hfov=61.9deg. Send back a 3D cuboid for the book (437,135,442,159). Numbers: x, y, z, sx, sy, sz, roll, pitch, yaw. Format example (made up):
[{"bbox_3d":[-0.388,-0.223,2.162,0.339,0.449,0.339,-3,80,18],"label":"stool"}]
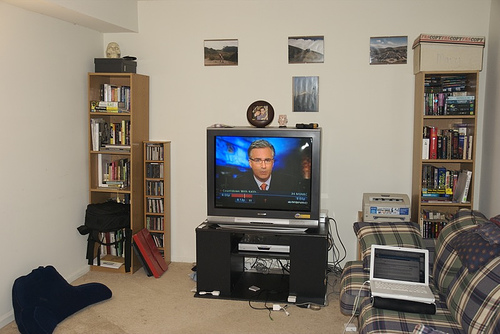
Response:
[{"bbox_3d":[2.168,-0.230,4.776,0.058,0.263,0.023,-2,7,-6],"label":"book"}]

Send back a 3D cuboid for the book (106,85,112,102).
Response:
[{"bbox_3d":[-1.761,-0.923,5.227,0.073,0.188,0.014,-1,7,0],"label":"book"}]

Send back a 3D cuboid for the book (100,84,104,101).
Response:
[{"bbox_3d":[-1.852,-0.930,5.248,0.048,0.195,0.021,3,9,31],"label":"book"}]

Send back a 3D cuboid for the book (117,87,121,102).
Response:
[{"bbox_3d":[-1.631,-0.904,5.205,0.051,0.170,0.019,0,7,3],"label":"book"}]

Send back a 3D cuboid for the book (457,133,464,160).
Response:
[{"bbox_3d":[2.408,-0.233,4.776,0.066,0.274,0.097,2,8,22],"label":"book"}]

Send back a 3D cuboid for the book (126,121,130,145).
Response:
[{"bbox_3d":[-1.498,-0.419,5.176,0.055,0.283,0.046,3,8,25],"label":"book"}]

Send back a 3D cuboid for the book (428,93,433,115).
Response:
[{"bbox_3d":[2.054,-0.716,4.747,0.050,0.237,0.016,-1,7,-1],"label":"book"}]

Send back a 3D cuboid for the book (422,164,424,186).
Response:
[{"bbox_3d":[2.008,0.103,4.841,0.023,0.223,0.045,2,8,21],"label":"book"}]

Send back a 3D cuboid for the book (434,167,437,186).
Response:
[{"bbox_3d":[2.149,0.115,4.837,0.028,0.202,0.032,1,8,17],"label":"book"}]

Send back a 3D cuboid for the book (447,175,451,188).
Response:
[{"bbox_3d":[2.304,0.171,4.831,0.041,0.147,0.016,-1,7,-3],"label":"book"}]

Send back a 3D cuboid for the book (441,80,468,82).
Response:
[{"bbox_3d":[2.306,-0.977,4.745,0.249,0.022,0.047,-1,7,-5],"label":"book"}]

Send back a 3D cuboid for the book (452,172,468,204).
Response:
[{"bbox_3d":[2.403,0.234,4.766,0.046,0.290,0.315,16,13,5],"label":"book"}]

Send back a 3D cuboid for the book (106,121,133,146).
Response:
[{"bbox_3d":[-1.650,-0.419,5.283,0.300,0.268,0.161,1,3,23],"label":"book"}]

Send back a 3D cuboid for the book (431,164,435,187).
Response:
[{"bbox_3d":[2.118,0.111,4.840,0.044,0.232,0.035,0,7,10],"label":"book"}]

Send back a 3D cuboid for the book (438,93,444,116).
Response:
[{"bbox_3d":[2.168,-0.712,4.733,0.057,0.242,0.039,0,7,8],"label":"book"}]

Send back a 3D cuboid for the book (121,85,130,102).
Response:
[{"bbox_3d":[-1.546,-0.903,5.192,0.104,0.178,0.189,1,4,1],"label":"book"}]

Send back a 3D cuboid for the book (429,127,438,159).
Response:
[{"bbox_3d":[2.103,-0.269,4.779,0.092,0.351,0.043,0,7,9],"label":"book"}]

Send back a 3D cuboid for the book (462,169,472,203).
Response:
[{"bbox_3d":[2.456,0.227,4.728,0.086,0.356,0.107,3,8,26],"label":"book"}]

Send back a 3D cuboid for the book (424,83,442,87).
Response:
[{"bbox_3d":[2.088,-0.931,4.751,0.195,0.047,0.023,-1,7,-5],"label":"book"}]

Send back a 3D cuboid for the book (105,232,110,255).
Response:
[{"bbox_3d":[-1.849,1.012,5.456,0.052,0.321,0.138,-3,8,-19],"label":"book"}]

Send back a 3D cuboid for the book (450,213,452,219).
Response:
[{"bbox_3d":[2.363,0.570,4.908,0.010,0.041,0.038,12,53,10],"label":"book"}]

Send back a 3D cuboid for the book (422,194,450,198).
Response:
[{"bbox_3d":[2.156,0.340,4.830,0.331,0.052,0.049,-1,7,-3],"label":"book"}]

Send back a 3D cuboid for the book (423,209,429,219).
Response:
[{"bbox_3d":[2.079,0.547,4.940,0.038,0.039,0.129,-2,20,12],"label":"book"}]

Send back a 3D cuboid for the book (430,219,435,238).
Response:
[{"bbox_3d":[2.137,0.735,4.879,0.042,0.192,0.018,-2,7,-7],"label":"book"}]

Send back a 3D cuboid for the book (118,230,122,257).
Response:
[{"bbox_3d":[-1.680,1.000,5.412,0.046,0.377,0.125,-4,8,-20],"label":"book"}]

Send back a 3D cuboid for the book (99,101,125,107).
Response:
[{"bbox_3d":[-1.713,-0.774,5.186,0.307,0.064,0.078,0,7,7],"label":"book"}]

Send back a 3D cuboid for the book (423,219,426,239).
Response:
[{"bbox_3d":[2.041,0.718,4.875,0.045,0.219,0.022,-4,8,-20],"label":"book"}]

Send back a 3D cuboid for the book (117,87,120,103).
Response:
[{"bbox_3d":[-1.636,-0.900,5.199,0.038,0.176,0.031,-1,7,-4],"label":"book"}]

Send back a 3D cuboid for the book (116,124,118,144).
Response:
[{"bbox_3d":[-1.660,-0.410,5.221,0.030,0.237,0.016,-3,8,-16],"label":"book"}]

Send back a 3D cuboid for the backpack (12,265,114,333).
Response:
[{"bbox_3d":[-2.035,1.360,4.306,0.579,0.272,0.767,18,8,15],"label":"backpack"}]

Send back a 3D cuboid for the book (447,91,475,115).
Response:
[{"bbox_3d":[2.436,-0.745,4.772,0.293,0.256,0.216,7,23,41],"label":"book"}]

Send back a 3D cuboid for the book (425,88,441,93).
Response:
[{"bbox_3d":[2.077,-0.865,4.737,0.172,0.052,0.024,-1,7,0],"label":"book"}]

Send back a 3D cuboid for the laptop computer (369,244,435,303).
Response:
[{"bbox_3d":[1.423,0.990,3.933,0.581,0.321,0.515,2,9,7],"label":"laptop computer"}]

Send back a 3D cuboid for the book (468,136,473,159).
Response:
[{"bbox_3d":[2.498,-0.222,4.740,0.039,0.250,0.013,2,8,18],"label":"book"}]

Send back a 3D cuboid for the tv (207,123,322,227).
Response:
[{"bbox_3d":[0.189,0.085,4.695,1.191,0.979,0.404,1,4,5],"label":"tv"}]

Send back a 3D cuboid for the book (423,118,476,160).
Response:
[{"bbox_3d":[2.276,-0.321,4.870,0.525,0.458,0.359,-1,9,4],"label":"book"}]

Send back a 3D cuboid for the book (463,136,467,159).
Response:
[{"bbox_3d":[2.445,-0.220,4.745,0.037,0.254,0.024,-8,10,-44],"label":"book"}]

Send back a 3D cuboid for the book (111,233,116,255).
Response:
[{"bbox_3d":[-1.781,1.014,5.457,0.049,0.306,0.096,-3,8,-19],"label":"book"}]

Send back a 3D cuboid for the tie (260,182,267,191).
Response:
[{"bbox_3d":[0.159,0.218,4.712,0.067,0.087,0.022,-2,2,5],"label":"tie"}]

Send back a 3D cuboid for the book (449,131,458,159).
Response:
[{"bbox_3d":[2.326,-0.249,4.761,0.087,0.310,0.042,1,8,16],"label":"book"}]

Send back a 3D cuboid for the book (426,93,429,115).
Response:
[{"bbox_3d":[2.021,-0.717,4.753,0.032,0.237,0.012,-1,7,1],"label":"book"}]

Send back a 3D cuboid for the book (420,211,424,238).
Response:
[{"bbox_3d":[2.006,0.674,4.874,0.039,0.286,0.099,2,8,22],"label":"book"}]

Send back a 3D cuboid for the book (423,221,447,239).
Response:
[{"bbox_3d":[2.077,0.708,4.702,0.258,0.176,0.137,0,-5,3],"label":"book"}]

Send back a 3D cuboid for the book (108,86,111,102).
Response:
[{"bbox_3d":[-1.754,-0.917,5.226,0.036,0.175,0.012,0,7,4],"label":"book"}]

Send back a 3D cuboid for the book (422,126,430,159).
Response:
[{"bbox_3d":[2.023,-0.275,4.788,0.075,0.352,0.053,2,8,19],"label":"book"}]

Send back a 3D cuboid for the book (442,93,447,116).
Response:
[{"bbox_3d":[2.202,-0.710,4.720,0.049,0.242,0.045,2,8,22],"label":"book"}]

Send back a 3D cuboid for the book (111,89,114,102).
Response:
[{"bbox_3d":[-1.717,-0.896,5.225,0.037,0.146,0.016,-1,7,-3],"label":"book"}]

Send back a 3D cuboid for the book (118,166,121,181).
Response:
[{"bbox_3d":[-1.652,0.079,5.283,0.035,0.180,0.015,1,8,14],"label":"book"}]

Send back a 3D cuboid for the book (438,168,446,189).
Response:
[{"bbox_3d":[2.223,0.138,4.833,0.081,0.212,0.228,1,-3,15],"label":"book"}]
